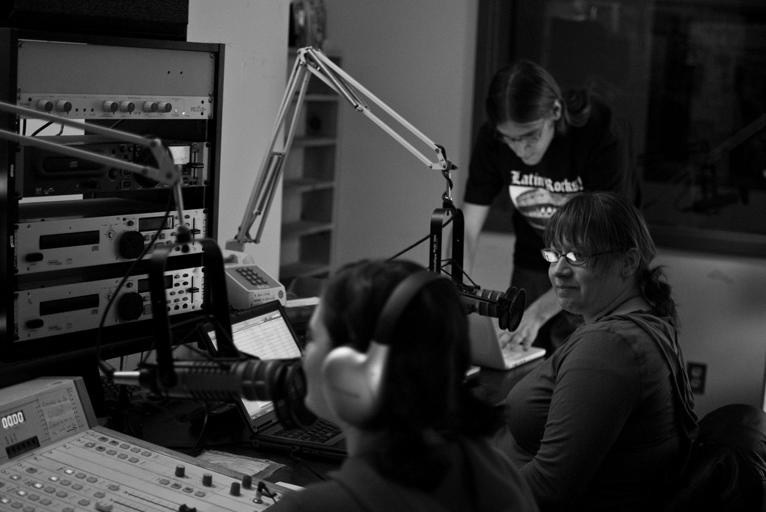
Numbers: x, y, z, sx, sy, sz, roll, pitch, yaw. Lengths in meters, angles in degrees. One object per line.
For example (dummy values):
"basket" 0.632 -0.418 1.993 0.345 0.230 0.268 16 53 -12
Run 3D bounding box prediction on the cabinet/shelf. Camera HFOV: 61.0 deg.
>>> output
"cabinet/shelf" -0.463 -0.576 4.235 0.309 1.260 0.186 -9 21 -37

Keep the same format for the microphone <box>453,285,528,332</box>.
"microphone" 0.348 0.156 2.029 0.259 0.108 0.106 10 -1 16

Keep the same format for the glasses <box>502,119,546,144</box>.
"glasses" 0.631 -0.567 2.953 0.201 0.100 0.157 2 2 15

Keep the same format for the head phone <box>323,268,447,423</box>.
"head phone" 0.009 0.146 1.040 0.088 0.185 0.219 23 -3 11

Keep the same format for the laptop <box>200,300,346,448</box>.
"laptop" -0.293 0.327 2.036 0.408 0.307 0.382 12 10 25
